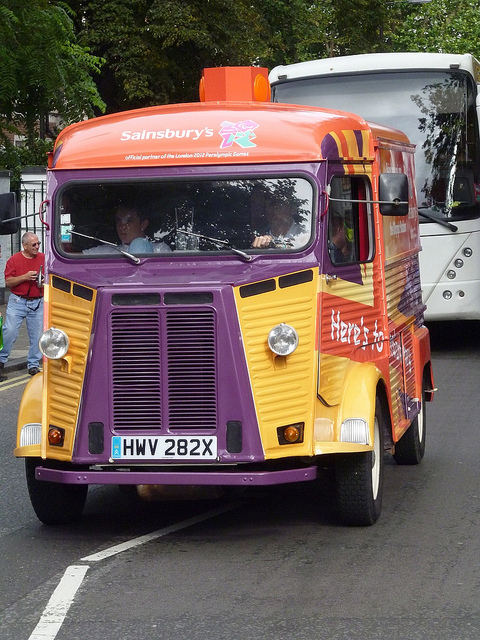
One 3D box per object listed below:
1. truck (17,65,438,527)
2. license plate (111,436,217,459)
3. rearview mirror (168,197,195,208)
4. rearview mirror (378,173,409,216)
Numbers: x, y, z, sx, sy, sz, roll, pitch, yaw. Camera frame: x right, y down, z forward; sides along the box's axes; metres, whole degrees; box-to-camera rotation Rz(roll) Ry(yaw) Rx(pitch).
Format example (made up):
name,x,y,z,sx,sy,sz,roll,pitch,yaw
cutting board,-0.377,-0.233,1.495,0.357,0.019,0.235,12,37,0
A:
name,x,y,z,sx,sy,sz,roll,pitch,yaw
truck,0.227,-0.231,5.542,2.198,2.328,3.781,-1,-1,8
license plate,-0.428,0.712,3.814,0.608,0.120,0.062,-1,8,11
rearview mirror,-0.360,-0.721,4.174,0.164,0.062,0.005,-1,8,12
rearview mirror,1.019,-0.840,4.527,0.185,0.281,0.309,-1,8,12
